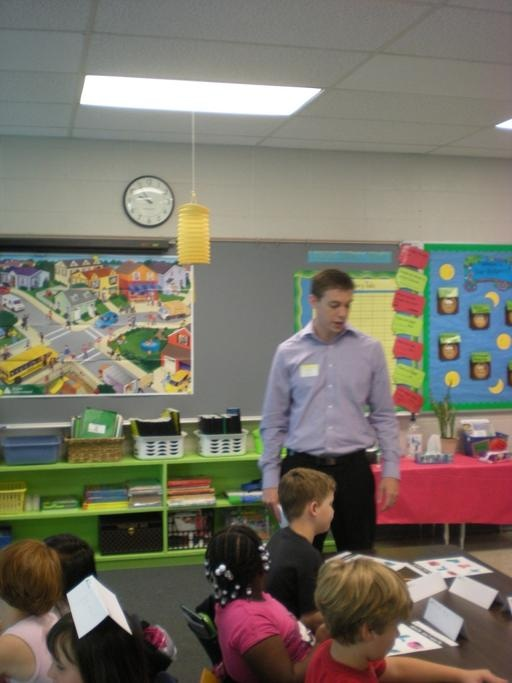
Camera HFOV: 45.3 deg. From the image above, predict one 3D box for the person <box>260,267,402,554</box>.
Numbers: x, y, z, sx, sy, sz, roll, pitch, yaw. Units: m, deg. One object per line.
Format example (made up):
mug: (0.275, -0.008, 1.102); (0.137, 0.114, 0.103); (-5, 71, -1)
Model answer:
person: (0.310, 0.479, 2.514); (0.599, 1.479, 0.312); (-1, 3, 11)

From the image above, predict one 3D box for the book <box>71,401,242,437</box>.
book: (-0.648, 0.519, 4.053); (1.094, 0.132, 0.220); (-1, 0, -16)

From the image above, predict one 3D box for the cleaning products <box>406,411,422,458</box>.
cleaning products: (1.146, 0.713, 4.479); (0.134, 0.272, 0.125); (4, -8, -10)

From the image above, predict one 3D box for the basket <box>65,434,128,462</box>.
basket: (-1.020, 0.664, 3.911); (0.290, 0.107, 0.180); (0, -2, -9)

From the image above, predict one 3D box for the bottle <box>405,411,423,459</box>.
bottle: (1.146, 0.702, 4.483); (0.169, 0.270, 0.158); (2, -5, 0)

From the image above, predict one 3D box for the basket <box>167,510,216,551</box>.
basket: (-0.433, 1.244, 4.087); (0.428, 0.262, 0.216); (0, 3, -13)

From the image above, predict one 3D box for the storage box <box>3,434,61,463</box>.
storage box: (-1.399, 0.664, 3.828); (0.308, 0.096, 0.197); (-2, 2, -13)

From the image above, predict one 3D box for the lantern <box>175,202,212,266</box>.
lantern: (-0.361, -0.624, 3.540); (0.170, 0.245, 0.168); (-1, 0, -11)

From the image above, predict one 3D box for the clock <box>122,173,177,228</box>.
clock: (-0.735, -0.961, 4.132); (0.336, 0.323, 0.037); (-17, 7, -9)

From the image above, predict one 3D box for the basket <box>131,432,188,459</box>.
basket: (-0.627, 0.661, 4.000); (0.273, 0.109, 0.174); (0, -2, -20)

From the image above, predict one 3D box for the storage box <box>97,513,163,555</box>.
storage box: (-0.804, 1.243, 3.949); (0.365, 0.177, 0.251); (0, -3, -15)
